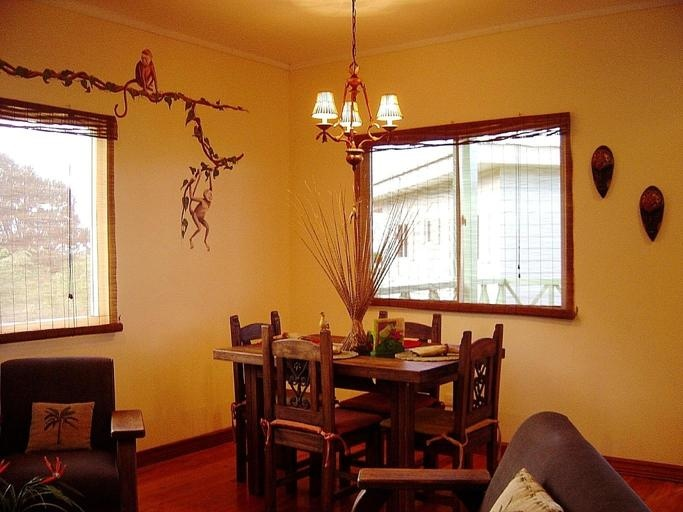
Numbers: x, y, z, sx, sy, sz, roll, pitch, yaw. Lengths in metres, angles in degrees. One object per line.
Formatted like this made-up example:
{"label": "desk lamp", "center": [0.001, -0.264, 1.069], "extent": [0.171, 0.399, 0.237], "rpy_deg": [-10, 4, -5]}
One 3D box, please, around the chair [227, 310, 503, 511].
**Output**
{"label": "chair", "center": [0.210, 0.871, 3.873], "extent": [1.237, 0.848, 1.286], "rpy_deg": [-2, -3, 33]}

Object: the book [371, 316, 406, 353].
{"label": "book", "center": [0.313, 0.529, 3.803], "extent": [0.181, 0.183, 0.065], "rpy_deg": [5, -9, -43]}
